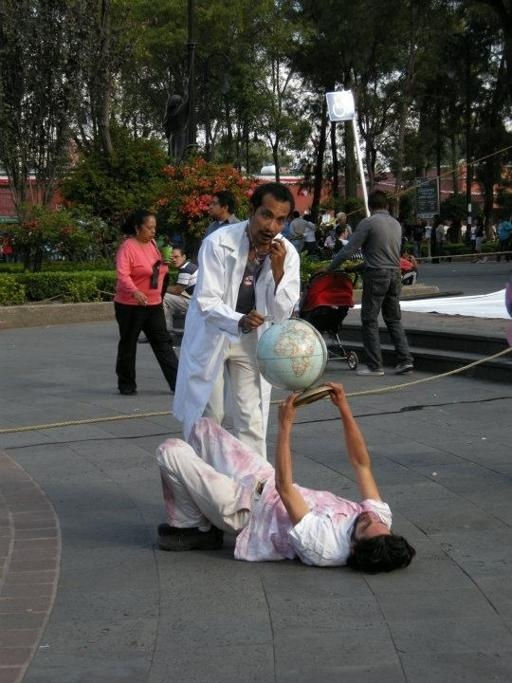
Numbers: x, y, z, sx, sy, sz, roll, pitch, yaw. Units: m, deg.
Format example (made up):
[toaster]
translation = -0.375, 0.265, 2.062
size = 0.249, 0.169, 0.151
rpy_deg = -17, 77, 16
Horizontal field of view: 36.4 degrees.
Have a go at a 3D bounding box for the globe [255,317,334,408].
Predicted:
[globe]
translation = 0.185, 0.098, 3.524
size = 0.338, 0.339, 0.331
rpy_deg = -3, -7, -45

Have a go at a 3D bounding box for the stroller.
[stroller]
translation = 0.852, -0.243, 9.197
size = 0.757, 1.186, 0.733
rpy_deg = -10, 18, -42
